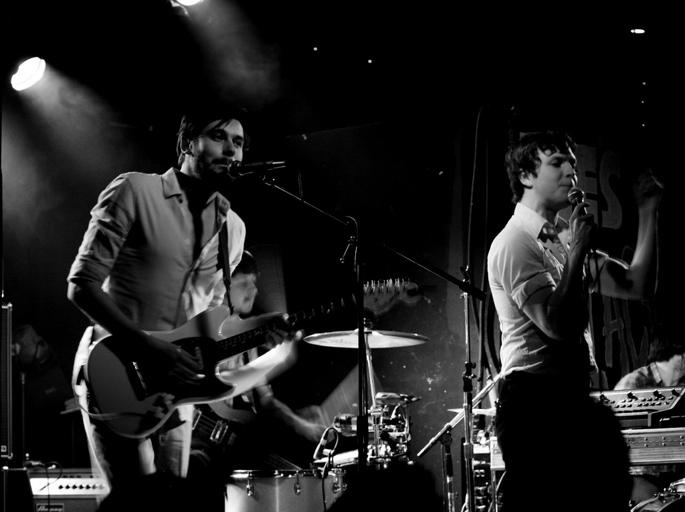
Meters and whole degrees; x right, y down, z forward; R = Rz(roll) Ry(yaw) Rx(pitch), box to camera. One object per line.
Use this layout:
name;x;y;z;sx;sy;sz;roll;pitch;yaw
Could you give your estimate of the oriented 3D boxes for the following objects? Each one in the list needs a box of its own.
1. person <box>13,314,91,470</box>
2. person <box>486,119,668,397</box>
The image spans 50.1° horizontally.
person;-2.057;0.974;5.285;0.551;0.978;0.231;-6;-3;10
person;1.450;-0.024;4.508;0.670;1.511;1.528;-14;-12;41
